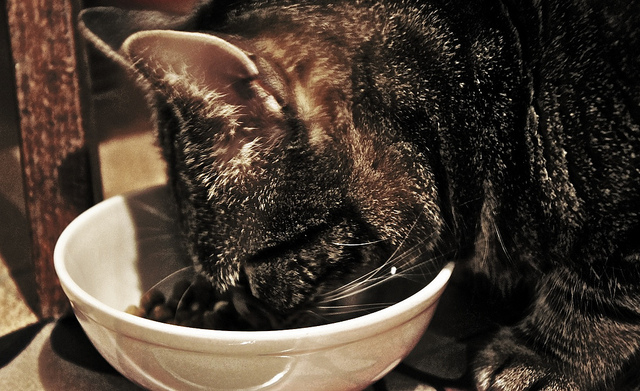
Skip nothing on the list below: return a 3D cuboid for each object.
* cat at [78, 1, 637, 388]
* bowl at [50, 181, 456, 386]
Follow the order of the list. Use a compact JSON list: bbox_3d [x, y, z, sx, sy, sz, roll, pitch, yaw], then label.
[{"bbox_3d":[0.044,-0.077,1.255,0.806,0.557,0.519,-11,8,-2],"label":"cat"},{"bbox_3d":[-0.125,0.046,1.009,0.439,0.168,0.436,-1,10,0],"label":"bowl"}]
